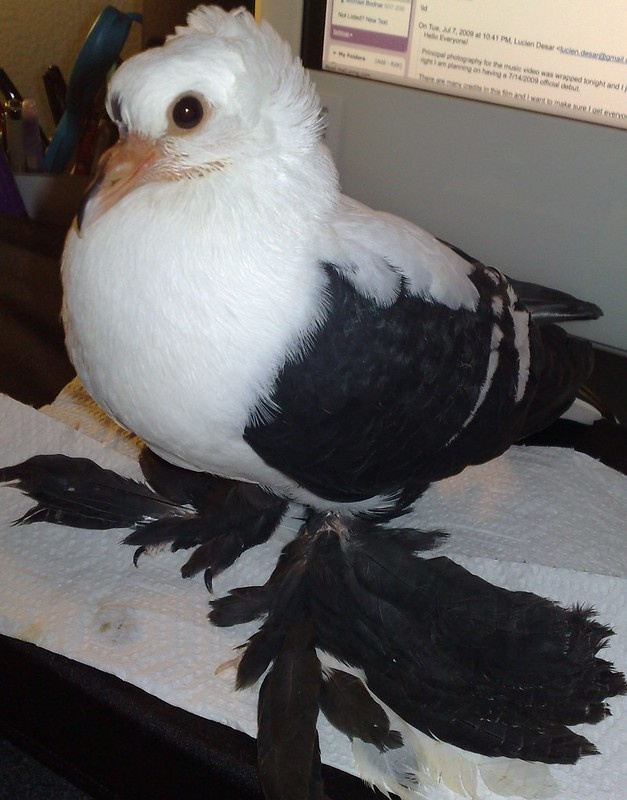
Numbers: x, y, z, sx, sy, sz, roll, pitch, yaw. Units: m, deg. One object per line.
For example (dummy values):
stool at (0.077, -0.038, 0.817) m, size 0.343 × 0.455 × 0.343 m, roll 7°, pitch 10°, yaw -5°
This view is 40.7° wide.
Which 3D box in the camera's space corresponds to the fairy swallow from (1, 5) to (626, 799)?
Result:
fairy swallow at (0.025, -0.071, 0.644) m, size 0.412 × 0.393 × 0.203 m, roll -1°, pitch 42°, yaw -14°
